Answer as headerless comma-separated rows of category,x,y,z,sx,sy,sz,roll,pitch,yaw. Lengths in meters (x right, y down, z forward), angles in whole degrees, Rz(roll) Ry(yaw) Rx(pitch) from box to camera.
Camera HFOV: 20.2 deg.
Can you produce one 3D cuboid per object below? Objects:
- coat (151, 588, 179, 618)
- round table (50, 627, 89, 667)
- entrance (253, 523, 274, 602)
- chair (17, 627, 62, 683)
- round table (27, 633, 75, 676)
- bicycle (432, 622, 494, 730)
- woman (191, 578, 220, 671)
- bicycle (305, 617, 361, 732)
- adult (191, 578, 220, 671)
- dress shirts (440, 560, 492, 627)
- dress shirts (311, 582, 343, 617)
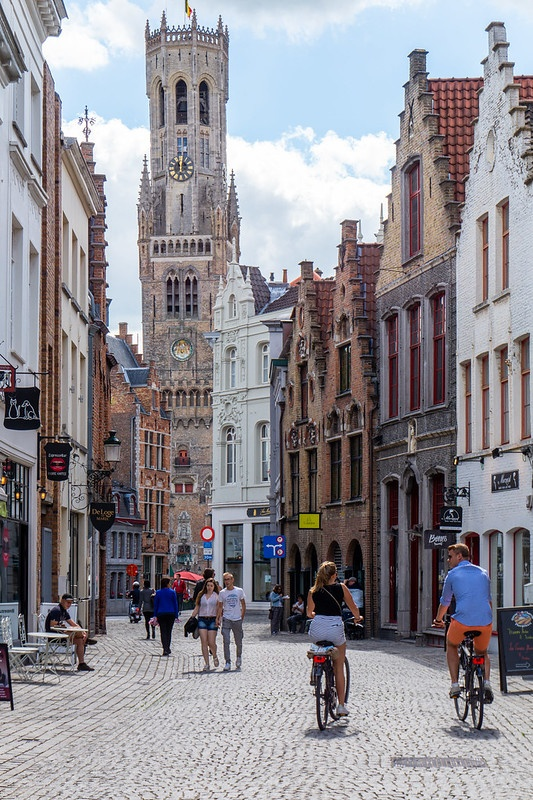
coat,-1.714,3.496,25.695,0.365,0.512,0.733,1,-10,-7
round table,-2.869,3.558,21.389,0.614,0.785,0.489,1,0,-5
entrance,-0.176,6.585,60.669,0.565,3.266,2.953,1,-10,-8
chair,-3.247,3.627,20.571,0.308,0.358,0.640,9,-11,38
round table,-3.171,3.677,21.633,0.706,0.585,0.809,2,-4,-2
bicycle,1.724,2.438,12.979,0.354,0.575,0.826,1,2,-1
woman,-0.884,3.366,22.373,0.411,1.423,1.109,0,-9,-3
bicycle,0.561,2.461,13.125,0.350,0.641,0.951,-4,0,8
adult,-0.882,3.365,22.336,0.411,1.436,1.325,0,-10,-3
dress shirts,1.794,1.770,13.193,0.394,0.664,0.403,3,-19,-10
dress shirts,0.566,1.802,13.344,0.282,0.290,0.273,-1,-10,1
